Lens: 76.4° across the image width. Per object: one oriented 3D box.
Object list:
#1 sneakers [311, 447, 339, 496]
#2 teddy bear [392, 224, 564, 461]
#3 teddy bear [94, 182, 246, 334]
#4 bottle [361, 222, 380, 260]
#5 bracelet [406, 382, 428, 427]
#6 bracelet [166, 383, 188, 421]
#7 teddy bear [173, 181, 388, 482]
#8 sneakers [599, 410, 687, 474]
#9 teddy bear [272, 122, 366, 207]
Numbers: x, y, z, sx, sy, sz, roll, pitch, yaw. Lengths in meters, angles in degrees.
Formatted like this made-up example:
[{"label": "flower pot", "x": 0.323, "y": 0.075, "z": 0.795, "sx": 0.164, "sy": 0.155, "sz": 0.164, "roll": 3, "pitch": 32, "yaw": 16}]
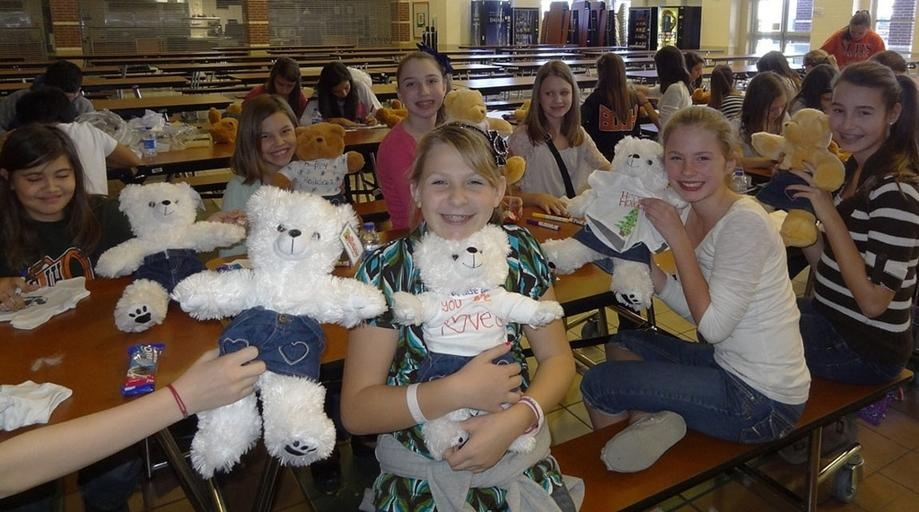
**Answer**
[{"label": "sneakers", "x": -0.786, "y": 1.224, "z": 3.486, "sx": 0.183, "sy": 0.232, "sz": 0.255, "roll": -6, "pitch": -2, "yaw": -3}, {"label": "teddy bear", "x": 0.016, "y": 0.334, "z": 2.342, "sx": 0.796, "sy": 0.820, "sz": 0.345, "roll": -1, "pitch": -5, "yaw": -26}, {"label": "teddy bear", "x": -1.419, "y": -0.033, "z": 2.875, "sx": 0.742, "sy": 0.606, "sz": 0.519, "roll": -7, "pitch": 28, "yaw": -22}, {"label": "bottle", "x": -0.462, "y": -0.089, "z": 3.296, "sx": 0.130, "sy": 0.177, "sz": 0.121, "roll": -12, "pitch": 11, "yaw": 2}, {"label": "bracelet", "x": -0.171, "y": 0.566, "z": 2.243, "sx": 0.033, "sy": 0.122, "sz": 0.122, "roll": -9, "pitch": 3, "yaw": -6}, {"label": "bracelet", "x": -1.020, "y": 0.526, "z": 2.124, "sx": 0.025, "sy": 0.101, "sz": 0.100, "roll": -40, "pitch": 3, "yaw": -20}, {"label": "teddy bear", "x": -0.780, "y": 0.322, "z": 2.279, "sx": 0.925, "sy": 1.055, "sz": 0.502, "roll": 16, "pitch": -28, "yaw": -33}, {"label": "sneakers", "x": 0.855, "y": 0.841, "z": 2.652, "sx": 0.355, "sy": 0.096, "sz": 0.204, "roll": -29, "pitch": 55, "yaw": -22}, {"label": "teddy bear", "x": -0.938, "y": -0.563, "z": 3.851, "sx": 0.682, "sy": 0.562, "sz": 0.380, "roll": -5, "pitch": 18, "yaw": -14}]
